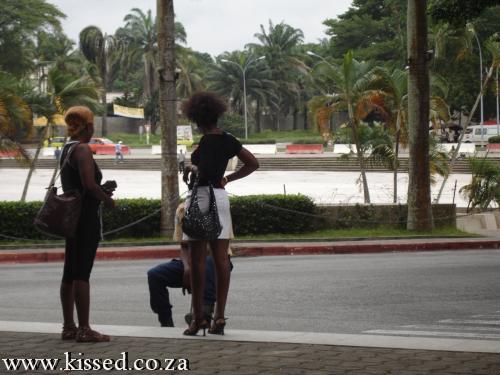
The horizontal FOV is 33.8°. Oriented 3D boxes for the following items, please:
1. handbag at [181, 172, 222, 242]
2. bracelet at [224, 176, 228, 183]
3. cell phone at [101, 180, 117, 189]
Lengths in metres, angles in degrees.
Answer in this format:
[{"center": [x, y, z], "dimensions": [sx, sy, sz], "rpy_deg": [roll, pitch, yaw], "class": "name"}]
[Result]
[{"center": [-0.689, 0.293, 11.709], "dimensions": [0.555, 0.912, 0.221], "rpy_deg": [0, 0, -4], "class": "handbag"}, {"center": [-0.354, -0.115, 12.096], "dimensions": [0.072, 0.085, 0.083], "rpy_deg": [-1, -8, -5], "class": "bracelet"}, {"center": [-2.134, -0.036, 12.440], "dimensions": [0.228, 0.096, 0.085], "rpy_deg": [29, 37, -11], "class": "cell phone"}]
